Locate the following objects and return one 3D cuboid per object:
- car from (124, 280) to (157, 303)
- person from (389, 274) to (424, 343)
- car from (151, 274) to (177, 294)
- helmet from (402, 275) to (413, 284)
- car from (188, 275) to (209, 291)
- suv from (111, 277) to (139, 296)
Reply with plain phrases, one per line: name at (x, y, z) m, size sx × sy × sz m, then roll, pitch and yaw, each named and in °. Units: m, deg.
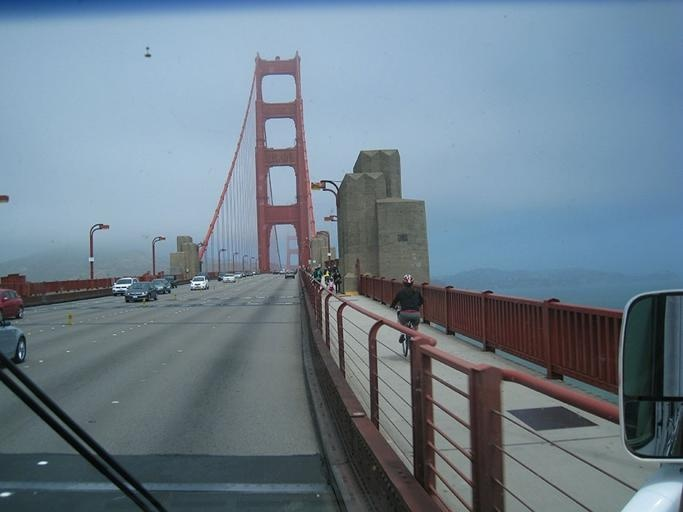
car at (-11.960, 2.075, 35.910) m, size 1.235 × 1.067 × 2.214 m, roll -2°, pitch -10°, yaw -4°
person at (1.331, 1.064, 12.074) m, size 0.551 × 1.392 × 1.310 m, roll -1°, pitch 15°, yaw -3°
car at (-16.444, 2.550, 56.000) m, size 1.181 × 1.067 × 2.954 m, roll -2°, pitch -9°, yaw -5°
helmet at (1.366, 0.473, 12.526) m, size 0.223 × 0.309 × 0.297 m, roll 1°, pitch 3°, yaw 9°
car at (-13.798, 2.534, 58.525) m, size 1.210 × 1.199 × 2.268 m, roll -3°, pitch -12°, yaw -4°
suv at (-16.326, 2.273, 45.486) m, size 1.055 × 1.002 × 1.868 m, roll -1°, pitch -11°, yaw -6°
